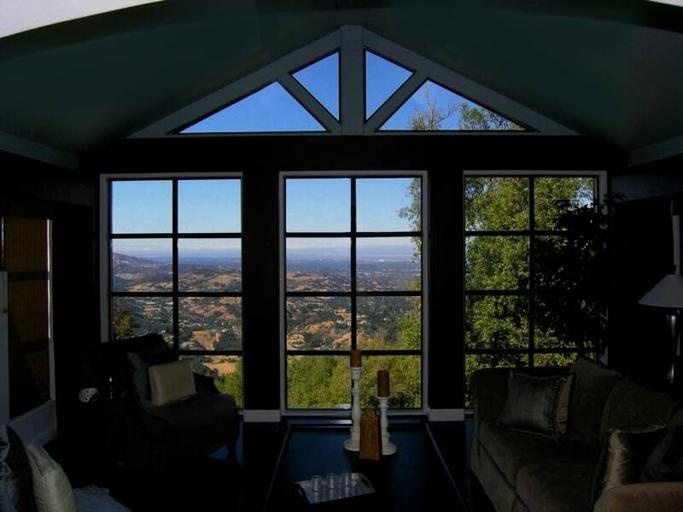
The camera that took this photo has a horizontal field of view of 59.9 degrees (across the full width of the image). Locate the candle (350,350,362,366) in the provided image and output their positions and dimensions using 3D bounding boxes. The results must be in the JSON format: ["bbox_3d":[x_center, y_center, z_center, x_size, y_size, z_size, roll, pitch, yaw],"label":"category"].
[{"bbox_3d":[0.148,0.994,5.797,0.123,0.250,0.129,-1,-4,9],"label":"candle"}]

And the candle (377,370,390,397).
[{"bbox_3d":[0.411,1.220,5.702,0.115,0.255,0.046,-1,10,4],"label":"candle"}]

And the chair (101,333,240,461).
[{"bbox_3d":[-1.707,1.386,5.853,1.335,1.008,0.919,-1,10,4],"label":"chair"}]
